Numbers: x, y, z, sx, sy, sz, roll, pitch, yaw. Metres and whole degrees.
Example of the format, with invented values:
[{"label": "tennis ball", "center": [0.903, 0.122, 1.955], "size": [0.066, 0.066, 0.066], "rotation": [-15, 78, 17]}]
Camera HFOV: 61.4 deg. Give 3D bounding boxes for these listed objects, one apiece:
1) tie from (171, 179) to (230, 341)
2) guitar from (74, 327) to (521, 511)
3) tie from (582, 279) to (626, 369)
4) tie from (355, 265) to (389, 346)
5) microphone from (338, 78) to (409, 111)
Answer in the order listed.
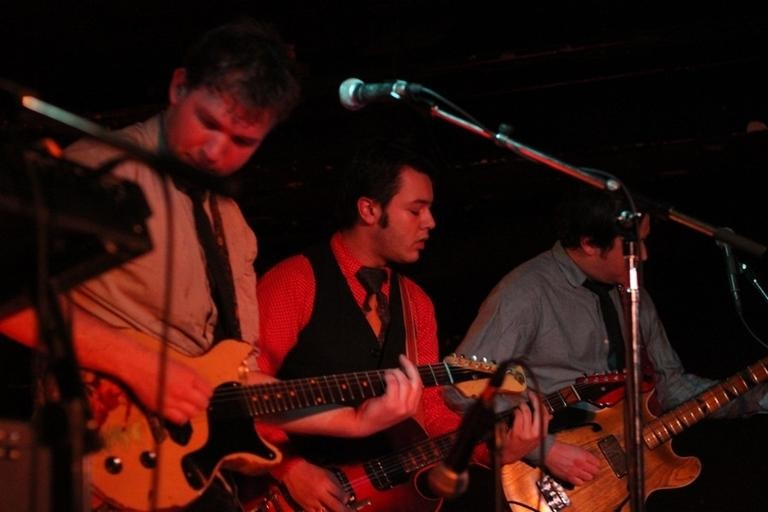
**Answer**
[{"label": "tie", "center": [-0.792, 0.039, 2.744], "size": [0.112, 0.712, 0.081], "rotation": [-20, -13, 5]}, {"label": "guitar", "center": [-0.395, 0.679, 2.657], "size": [1.201, 0.391, 0.130], "rotation": [-6, -26, -47]}, {"label": "tie", "center": [1.281, 0.388, 3.654], "size": [0.257, 0.470, 0.073], "rotation": [0, -1, 27]}, {"label": "tie", "center": [-0.041, 0.247, 3.293], "size": [0.095, 0.359, 0.196], "rotation": [-2, -4, -32]}, {"label": "microphone", "center": [-0.053, -0.641, 2.551], "size": [0.262, 0.125, 0.107], "rotation": [15, 7, 34]}]
